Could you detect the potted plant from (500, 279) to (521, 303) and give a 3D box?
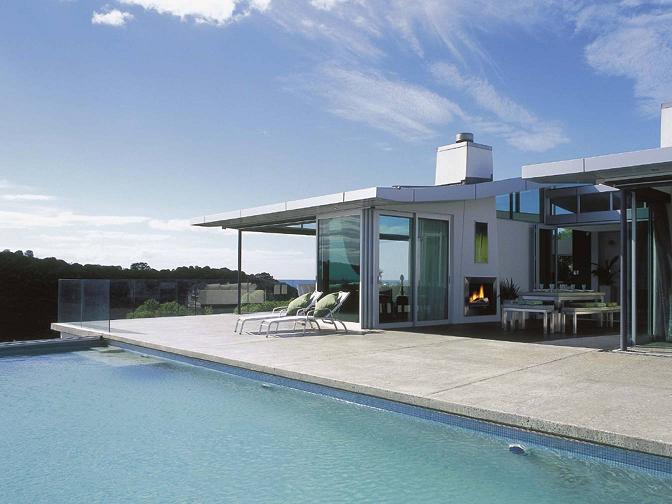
[{"bbox_3d":[5.346,1.161,14.626,0.545,0.640,0.947,-3,3,18],"label":"potted plant"}]

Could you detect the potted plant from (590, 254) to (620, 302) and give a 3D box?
[{"bbox_3d":[10.002,0.984,17.493,0.830,1.664,0.890,-2,4,38],"label":"potted plant"}]

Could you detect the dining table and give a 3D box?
[{"bbox_3d":[5.902,1.405,11.963,2.553,0.994,1.098,-6,3,-43],"label":"dining table"}]
